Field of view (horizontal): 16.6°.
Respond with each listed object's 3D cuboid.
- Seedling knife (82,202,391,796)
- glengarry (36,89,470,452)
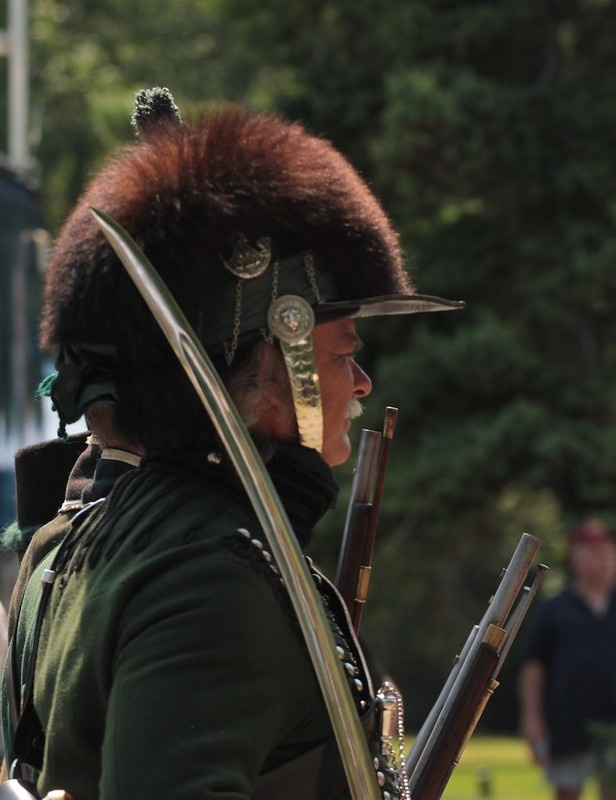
[{"bbox_3d":[-0.206,0.345,6.752,1.012,1.809,0.137,7,10,31],"label":"Seedling knife"},{"bbox_3d":[-0.220,-0.416,7.374,1.737,1.146,1.383,-12,21,-42],"label":"glengarry"}]
